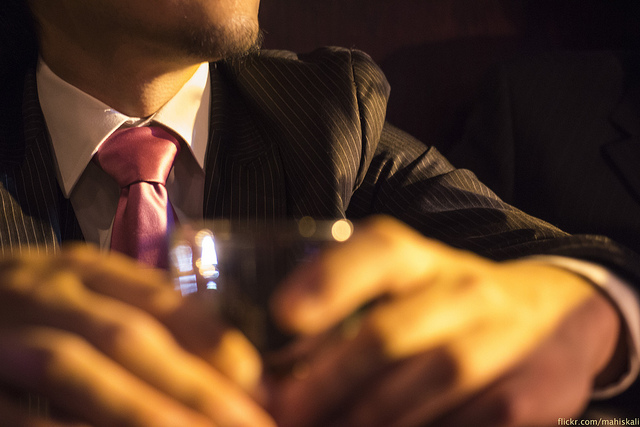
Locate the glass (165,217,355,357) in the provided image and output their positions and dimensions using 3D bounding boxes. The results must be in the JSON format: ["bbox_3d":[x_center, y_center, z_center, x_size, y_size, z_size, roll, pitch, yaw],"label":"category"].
[{"bbox_3d":[-0.195,0.091,1.471,0.223,0.339,0.241,30,50,17],"label":"glass"}]

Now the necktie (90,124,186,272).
[{"bbox_3d":[-0.521,-0.066,1.746,0.197,0.149,0.475,1,45,-13],"label":"necktie"}]
